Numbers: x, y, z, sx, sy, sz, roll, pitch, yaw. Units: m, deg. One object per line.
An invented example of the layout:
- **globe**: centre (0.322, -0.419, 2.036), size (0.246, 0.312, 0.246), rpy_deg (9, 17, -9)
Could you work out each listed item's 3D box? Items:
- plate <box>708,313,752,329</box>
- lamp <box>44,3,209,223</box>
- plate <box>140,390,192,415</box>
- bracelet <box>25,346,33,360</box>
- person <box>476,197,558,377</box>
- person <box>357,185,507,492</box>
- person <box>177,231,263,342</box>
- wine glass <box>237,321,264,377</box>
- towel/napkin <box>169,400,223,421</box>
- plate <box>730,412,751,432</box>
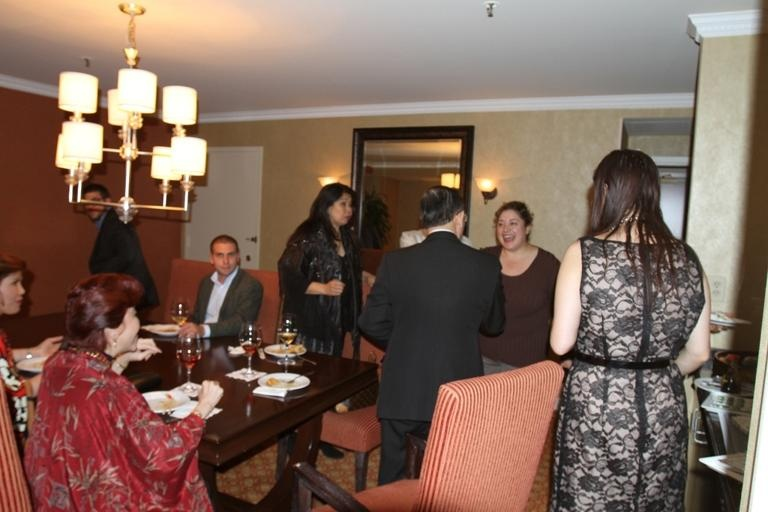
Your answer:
- **plate**: centre (2.240, 0.420, 3.664), size (0.152, 0.037, 0.155), rpy_deg (10, 6, 42)
- **lamp**: centre (-2.139, -1.105, 4.675), size (0.890, 1.663, 2.539), rpy_deg (2, 1, -28)
- **plate**: centre (-1.077, 0.706, 2.778), size (0.143, 0.024, 0.144), rpy_deg (5, 7, 11)
- **bracelet**: centre (-1.987, 0.545, 3.173), size (0.036, 0.050, 0.020), rpy_deg (7, -23, -33)
- **person**: centre (1.026, 0.442, 4.409), size (0.768, 1.648, 0.524), rpy_deg (-5, 14, 6)
- **person**: centre (0.287, 0.654, 3.484), size (0.803, 2.197, 0.670), rpy_deg (3, 21, 3)
- **person**: centre (-1.187, 0.275, 3.999), size (0.589, 0.835, 0.593), rpy_deg (8, 9, 36)
- **wine glass**: centre (-0.768, 0.502, 3.255), size (0.110, 0.283, 0.338), rpy_deg (3, 1, -12)
- **towel/napkin**: centre (-0.932, 0.745, 2.718), size (0.108, 0.020, 0.115), rpy_deg (9, 11, 28)
- **plate**: centre (1.779, 0.823, 2.833), size (0.077, 0.088, 0.185), rpy_deg (4, 1, 31)
